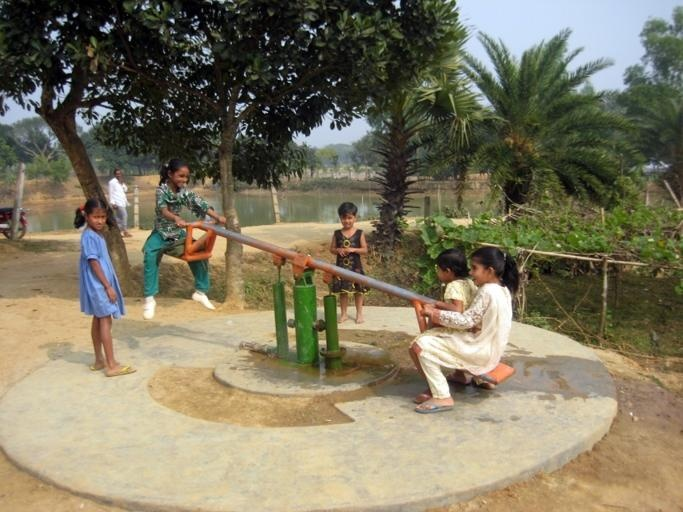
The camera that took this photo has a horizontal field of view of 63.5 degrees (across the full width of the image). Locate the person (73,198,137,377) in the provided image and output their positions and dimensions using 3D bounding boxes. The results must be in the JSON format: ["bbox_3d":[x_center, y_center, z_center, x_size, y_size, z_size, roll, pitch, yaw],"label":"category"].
[{"bbox_3d":[-2.552,0.311,5.853,0.438,1.858,0.761,-9,16,-25],"label":"person"}]

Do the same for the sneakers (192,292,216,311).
[{"bbox_3d":[-2.100,0.705,8.432,0.181,0.409,0.136,-43,12,42],"label":"sneakers"}]

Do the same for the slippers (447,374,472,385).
[{"bbox_3d":[1.197,1.254,5.592,0.209,0.073,0.103,1,6,37],"label":"slippers"}]

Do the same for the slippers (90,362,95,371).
[{"bbox_3d":[-2.698,1.218,5.997,0.043,0.047,0.123,4,-6,-32],"label":"slippers"}]

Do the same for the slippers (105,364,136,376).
[{"bbox_3d":[-2.327,1.213,5.853,0.129,0.057,0.236,8,8,42],"label":"slippers"}]

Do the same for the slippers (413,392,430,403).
[{"bbox_3d":[0.758,1.328,5.170,0.139,0.049,0.073,-6,8,-31],"label":"slippers"}]

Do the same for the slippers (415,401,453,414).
[{"bbox_3d":[0.842,1.353,5.028,0.255,0.086,0.136,1,-4,1],"label":"slippers"}]

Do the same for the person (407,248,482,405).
[{"bbox_3d":[1.046,0.657,5.243,0.804,1.398,0.729,-8,2,-17],"label":"person"}]

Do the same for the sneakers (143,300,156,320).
[{"bbox_3d":[-2.440,0.687,7.033,0.126,0.299,0.255,-6,15,-17],"label":"sneakers"}]
